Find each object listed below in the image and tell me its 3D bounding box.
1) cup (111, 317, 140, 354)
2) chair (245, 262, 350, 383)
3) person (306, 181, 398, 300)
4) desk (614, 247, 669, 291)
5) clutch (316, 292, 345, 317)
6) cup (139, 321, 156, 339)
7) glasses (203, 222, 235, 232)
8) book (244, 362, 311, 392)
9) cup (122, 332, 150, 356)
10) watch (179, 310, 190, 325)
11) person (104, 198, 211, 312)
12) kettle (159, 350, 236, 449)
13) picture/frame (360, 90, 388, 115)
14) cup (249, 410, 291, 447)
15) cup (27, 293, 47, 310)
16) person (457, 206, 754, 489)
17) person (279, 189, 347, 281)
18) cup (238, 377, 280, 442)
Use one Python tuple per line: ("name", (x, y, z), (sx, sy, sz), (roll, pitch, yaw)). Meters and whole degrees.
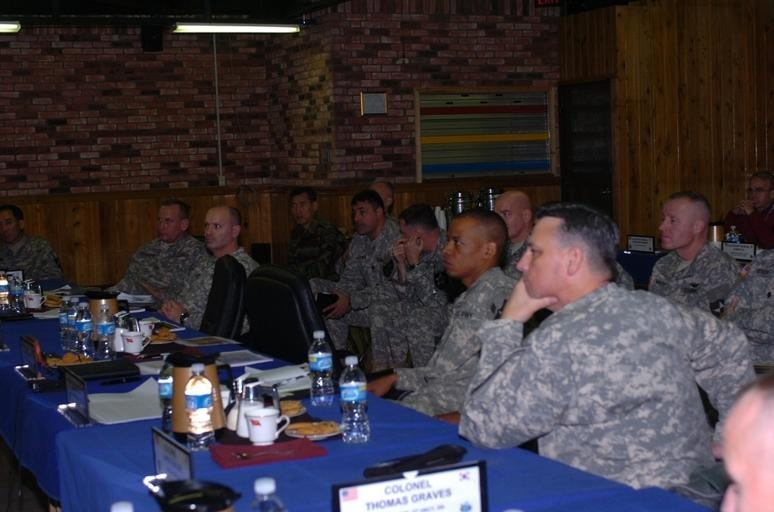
("cup", (-1.376, 0.456, 3.772), (0.168, 0.108, 0.105), (-3, 14, -15))
("chair", (-0.658, 0.432, 4.113), (0.601, 0.623, 0.959), (13, -4, -19))
("person", (-0.311, 0.006, 6.397), (1.015, 1.067, 0.923), (2, 12, 7))
("desk", (1.977, 0.103, 5.542), (0.389, 0.326, 0.369), (1, 5, 3))
("clutch", (-0.464, 0.394, 5.755), (0.183, 0.082, 0.217), (5, 1, 9))
("cup", (-1.335, 0.413, 4.030), (0.103, 0.070, 0.080), (0, 2, -1))
("glasses", (-1.167, -0.208, 5.038), (0.196, 0.058, 0.053), (-5, 6, -13))
("book", (-0.465, 0.540, 3.211), (0.180, 0.055, 0.149), (-7, 8, -22))
("cup", (-1.323, 0.463, 3.780), (0.136, 0.090, 0.094), (1, -3, -21))
("watch", (-1.402, 0.425, 4.953), (0.085, 0.100, 0.045), (7, 7, 5))
("person", (-1.925, -0.023, 6.033), (0.720, 0.824, 0.724), (-10, 21, -42))
("kettle", (-0.678, 0.537, 2.651), (0.242, 0.329, 0.219), (-3, 6, -14))
("picture/frame", (-0.159, -1.835, 8.654), (0.300, 0.273, 0.067), (0, 5, -17))
("cup", (-0.431, 0.624, 2.585), (0.167, 0.100, 0.113), (-3, -9, -11))
("cup", (-2.491, 0.317, 5.110), (0.125, 0.085, 0.093), (5, -8, -35))
("person", (0.769, 0.297, 2.512), (1.067, 0.960, 0.503), (-3, 6, 4))
("person", (-0.845, -0.205, 7.794), (0.799, 1.060, 0.732), (4, 6, 35))
("cup", (-0.494, 0.586, 2.693), (0.211, 0.208, 0.130), (3, -25, -24))
